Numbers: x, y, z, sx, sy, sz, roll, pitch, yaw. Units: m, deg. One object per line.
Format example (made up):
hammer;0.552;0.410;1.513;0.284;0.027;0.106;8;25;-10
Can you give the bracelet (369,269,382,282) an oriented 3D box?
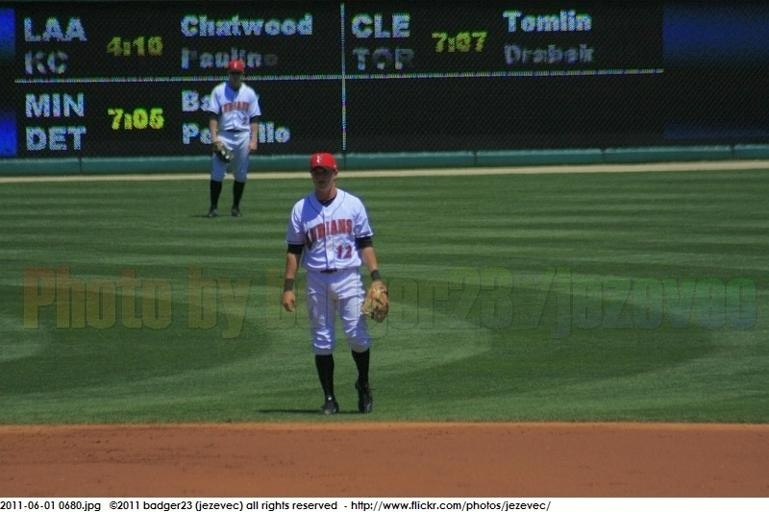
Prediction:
bracelet;-0.119;0.227;16.331;0.129;0.124;0.128;-23;-26;-6

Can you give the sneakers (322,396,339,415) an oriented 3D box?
sneakers;-0.651;1.749;16.376;0.138;0.238;0.256;-3;-12;6

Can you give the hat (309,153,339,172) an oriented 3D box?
hat;-0.697;-1.107;16.207;0.294;0.188;0.402;1;-3;7

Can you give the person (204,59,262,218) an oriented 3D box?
person;-2.555;-1.904;23.282;0.904;2.628;1.518;-2;11;-7

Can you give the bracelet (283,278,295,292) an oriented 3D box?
bracelet;-1.128;0.331;16.316;0.184;0.214;0.143;1;-12;-3

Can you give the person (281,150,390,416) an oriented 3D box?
person;-0.604;0.314;16.297;1.172;2.995;0.449;-1;11;-2

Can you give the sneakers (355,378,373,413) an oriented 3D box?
sneakers;-0.257;1.611;16.450;0.154;0.411;0.182;-4;-2;-4
